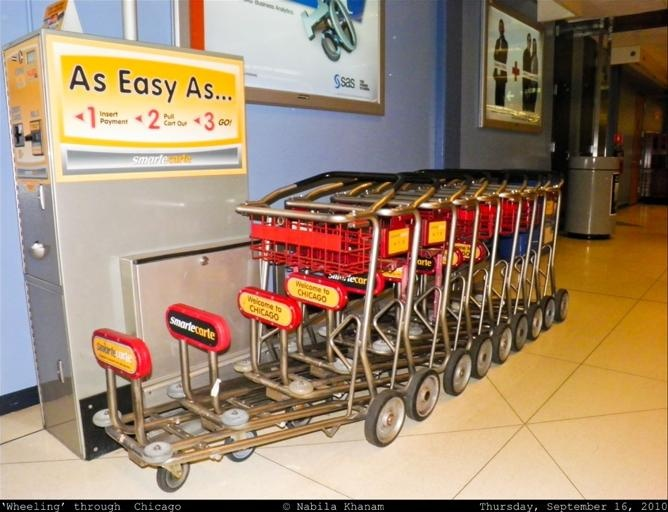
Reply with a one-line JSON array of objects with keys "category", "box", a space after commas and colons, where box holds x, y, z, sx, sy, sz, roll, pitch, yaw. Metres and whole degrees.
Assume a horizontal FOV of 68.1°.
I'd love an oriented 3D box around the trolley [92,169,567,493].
[{"category": "trolley", "box": [0.196, 0.092, 3.128, 3.190, 1.325, 1.285, -11, 13, -43]}]
